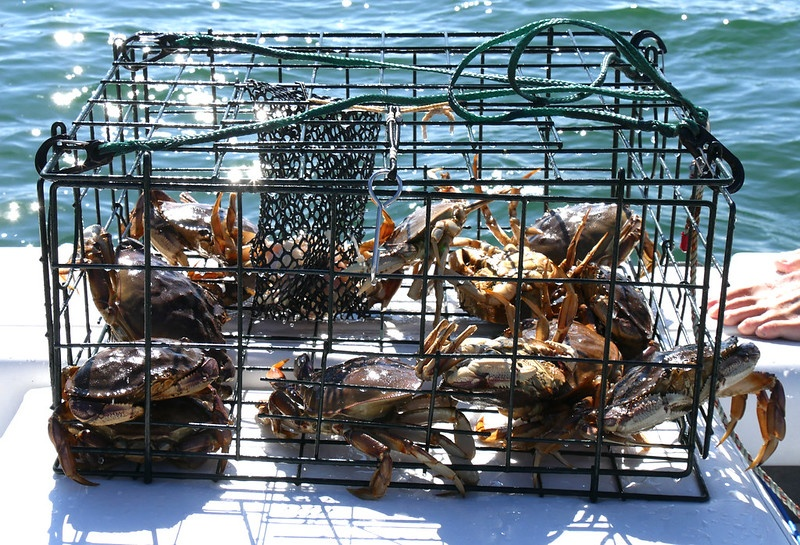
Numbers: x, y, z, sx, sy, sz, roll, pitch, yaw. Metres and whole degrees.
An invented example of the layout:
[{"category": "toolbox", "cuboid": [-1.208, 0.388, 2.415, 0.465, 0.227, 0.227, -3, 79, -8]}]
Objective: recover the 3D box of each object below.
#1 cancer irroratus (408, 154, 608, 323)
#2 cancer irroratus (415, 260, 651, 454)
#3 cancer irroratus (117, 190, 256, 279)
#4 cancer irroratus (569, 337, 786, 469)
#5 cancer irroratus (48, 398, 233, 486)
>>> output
[{"category": "cancer irroratus", "cuboid": [0.368, -0.024, 4.462, 0.624, 0.272, 0.690, -5, 31, 3]}, {"category": "cancer irroratus", "cuboid": [0.494, 0.306, 4.047, 0.788, 0.256, 0.709, -5, 24, -9]}, {"category": "cancer irroratus", "cuboid": [-0.745, -0.135, 4.733, 0.614, 0.176, 0.310, 17, 25, -23]}, {"category": "cancer irroratus", "cuboid": [0.795, 0.284, 3.960, 0.611, 0.473, 0.196, -15, -7, -25]}, {"category": "cancer irroratus", "cuboid": [-0.758, 0.480, 4.023, 0.500, 0.151, 0.412, -1, 5, 5]}]
